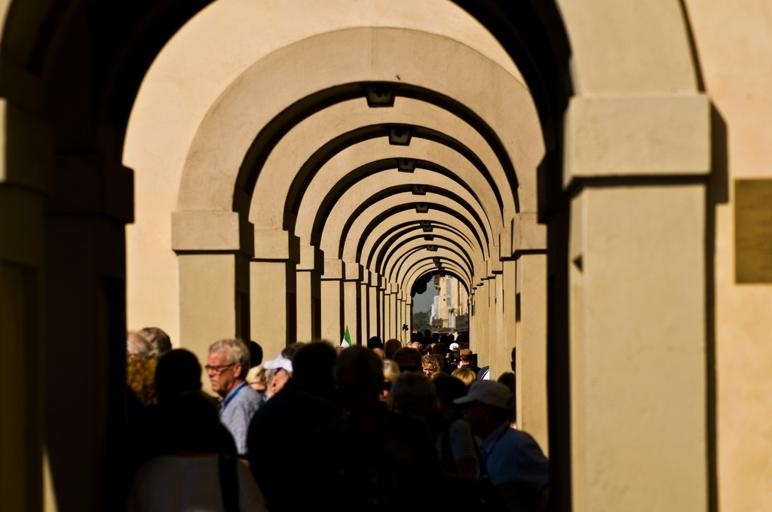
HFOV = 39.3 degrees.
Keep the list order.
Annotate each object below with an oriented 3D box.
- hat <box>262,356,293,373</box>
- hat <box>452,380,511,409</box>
[{"bbox_3d":[-0.955,0.949,9.560,0.342,0.141,0.232,2,-5,40],"label":"hat"},{"bbox_3d":[0.794,1.078,8.494,0.293,0.185,0.235,0,-11,9],"label":"hat"}]
